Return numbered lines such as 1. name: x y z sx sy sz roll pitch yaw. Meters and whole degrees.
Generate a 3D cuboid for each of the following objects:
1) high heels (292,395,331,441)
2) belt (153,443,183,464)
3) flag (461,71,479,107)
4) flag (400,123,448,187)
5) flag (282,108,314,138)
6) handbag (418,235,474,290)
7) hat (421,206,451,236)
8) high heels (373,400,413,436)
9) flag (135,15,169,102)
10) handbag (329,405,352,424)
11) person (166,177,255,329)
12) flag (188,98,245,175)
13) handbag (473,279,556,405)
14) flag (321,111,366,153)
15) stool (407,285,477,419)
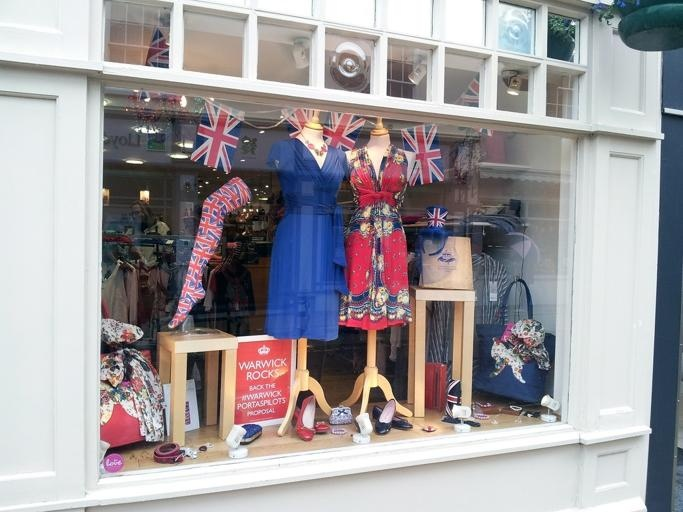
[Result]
1. high heels: -0.158 0.848 3.328 0.187 0.200 0.117 -3 2 -37
2. belt: -0.827 0.940 3.021 0.107 0.039 0.078 5 -2 -35
3. flag: 0.661 -0.876 3.391 0.151 0.140 0.035 -11 18 -36
4. flag: 0.439 -0.560 3.432 0.315 0.404 0.016 -4 28 -2
5. flag: -0.222 -0.667 3.158 0.172 0.010 0.191 -5 -40 -7
6. handbag: 0.588 0.041 3.661 0.307 0.300 0.102 1 -2 -11
7. hat: 0.540 -0.193 3.620 0.156 0.175 0.057 -2 2 -26
8. high heels: 0.260 0.880 3.489 0.092 0.109 0.277 -4 -2 -1
9. flag: -0.834 -0.894 2.893 0.152 0.368 0.010 0 7 -36
10. handbag: -0.004 0.858 3.404 0.119 0.086 0.064 -2 1 -2
11. person: -0.639 -0.067 3.292 0.244 0.960 0.256 22 -1 -3
12. flag: -0.612 -0.587 3.056 0.325 0.429 0.015 8 22 -28
13. handbag: 1.013 0.497 3.733 0.441 0.708 0.180 -1 1 15
14. flag: 0.003 -0.645 3.252 0.259 0.014 0.283 2 -41 -11
15. stool: 0.602 0.504 3.809 0.447 0.643 0.453 6 10 36
